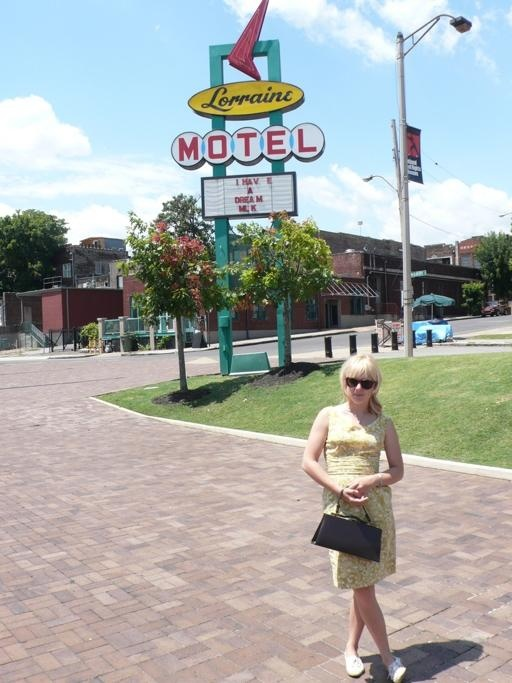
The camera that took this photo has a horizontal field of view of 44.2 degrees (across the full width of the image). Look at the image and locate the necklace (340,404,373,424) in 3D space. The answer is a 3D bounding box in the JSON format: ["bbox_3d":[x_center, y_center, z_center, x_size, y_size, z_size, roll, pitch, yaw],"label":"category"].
[{"bbox_3d":[0.486,0.356,3.068,0.116,0.042,0.089,30,2,25],"label":"necklace"}]

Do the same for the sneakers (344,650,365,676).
[{"bbox_3d":[0.469,1.539,3.020,0.094,0.116,0.213,-1,1,7],"label":"sneakers"}]

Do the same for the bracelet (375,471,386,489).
[{"bbox_3d":[0.577,0.640,2.919,0.053,0.067,0.025,4,-4,-18],"label":"bracelet"}]

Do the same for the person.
[{"bbox_3d":[0.470,0.836,3.025,0.459,1.543,0.441,-1,2,12],"label":"person"}]
